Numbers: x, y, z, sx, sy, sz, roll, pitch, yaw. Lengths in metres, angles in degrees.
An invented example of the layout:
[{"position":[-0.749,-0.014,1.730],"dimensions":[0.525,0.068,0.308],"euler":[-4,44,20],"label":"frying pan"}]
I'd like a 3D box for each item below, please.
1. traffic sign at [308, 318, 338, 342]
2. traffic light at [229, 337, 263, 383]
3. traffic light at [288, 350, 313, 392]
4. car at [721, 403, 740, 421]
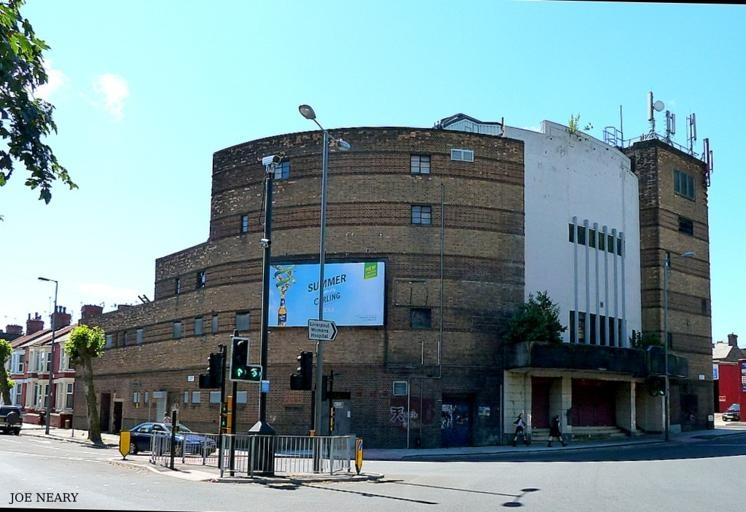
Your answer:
[{"position":[-2.203,3.200,36.376],"dimensions":[1.005,1.061,2.009],"euler":[0,-17,1],"label":"traffic sign"},{"position":[-5.386,4.295,34.691],"dimensions":[1.368,1.947,0.997],"euler":[9,-19,-25],"label":"traffic light"},{"position":[-3.022,4.844,35.192],"dimensions":[0.814,1.680,1.256],"euler":[1,-17,1],"label":"traffic light"},{"position":[35.103,15.323,80.941],"dimensions":[1.815,1.628,3.461],"euler":[1,0,24],"label":"car"}]
